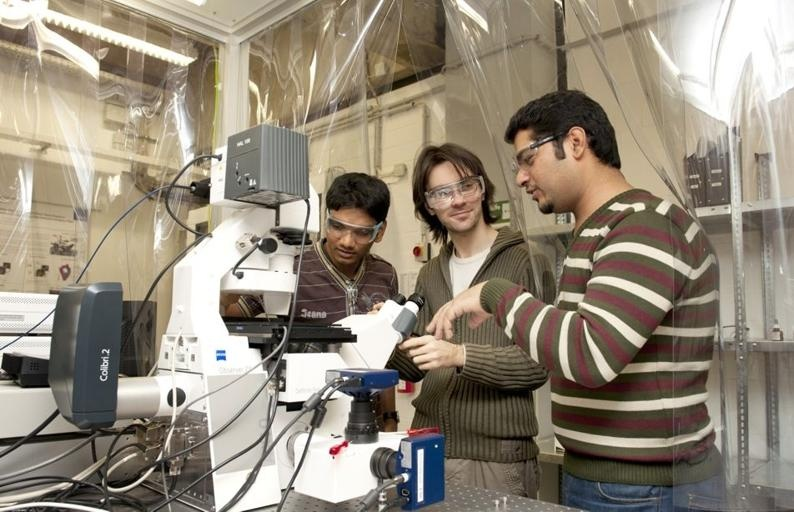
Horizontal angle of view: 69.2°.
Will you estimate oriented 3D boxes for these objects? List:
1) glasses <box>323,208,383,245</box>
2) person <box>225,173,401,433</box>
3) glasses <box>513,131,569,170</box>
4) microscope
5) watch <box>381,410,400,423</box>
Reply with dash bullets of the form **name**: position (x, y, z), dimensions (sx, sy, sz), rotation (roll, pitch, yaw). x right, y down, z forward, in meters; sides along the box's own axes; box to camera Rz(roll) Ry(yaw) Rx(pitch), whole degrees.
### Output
- **glasses**: position (-0.180, -0.131, 2.458), dimensions (0.187, 0.138, 0.114), rotation (9, 3, -14)
- **person**: position (-0.319, 0.049, 2.713), dimensions (0.638, 1.263, 0.678), rotation (9, 2, -1)
- **glasses**: position (0.448, -0.346, 1.871), dimensions (0.104, 0.104, 0.070), rotation (-6, 9, 11)
- **microscope**: position (-0.129, 0.404, 1.737), dimensions (0.401, 0.576, 0.445), rotation (-4, -8, 5)
- **watch**: position (-0.028, 0.746, 2.668), dimensions (0.065, 0.045, 0.053), rotation (-3, -2, 9)
